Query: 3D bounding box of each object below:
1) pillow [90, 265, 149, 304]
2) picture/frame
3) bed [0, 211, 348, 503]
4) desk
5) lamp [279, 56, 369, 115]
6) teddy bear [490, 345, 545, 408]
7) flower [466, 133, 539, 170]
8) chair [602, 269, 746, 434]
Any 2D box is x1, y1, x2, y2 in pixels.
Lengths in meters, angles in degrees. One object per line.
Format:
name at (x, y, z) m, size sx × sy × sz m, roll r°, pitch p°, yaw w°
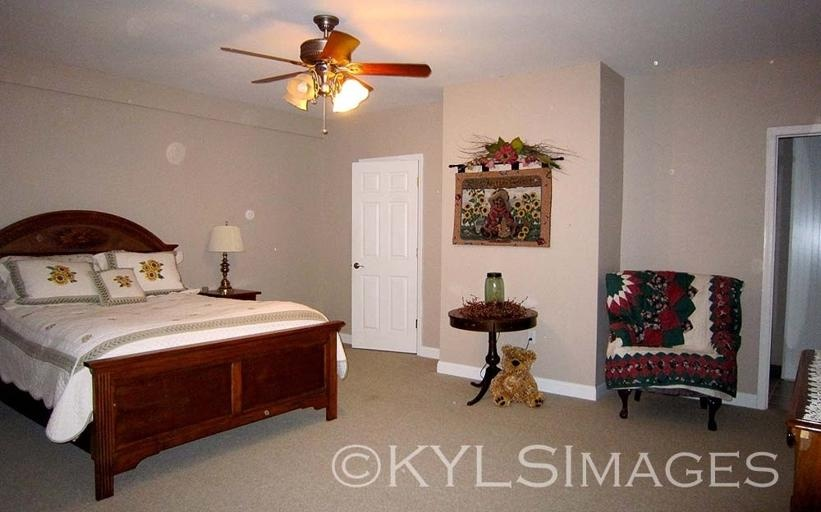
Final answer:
pillow at (-3.149, 0.330, 5.982) m, size 0.505 × 0.508 × 0.156 m, roll 0°, pitch -38°, yaw -47°
picture/frame at (1.100, -0.552, 6.391) m, size 0.988 × 0.701 × 0.016 m, roll 1°, pitch 1°, yaw 27°
bed at (-2.632, 0.549, 5.800) m, size 3.415 × 2.026 × 2.397 m, roll 3°, pitch 4°, yaw 44°
desk at (0.942, 1.041, 6.093) m, size 1.074 × 1.007 × 1.012 m, roll 0°, pitch -1°, yaw -7°
lamp at (-0.750, -1.600, 4.858) m, size 0.719 × 0.284 × 0.681 m, roll -9°, pitch -1°, yaw 28°
teddy bear at (1.160, 1.308, 5.939) m, size 0.635 × 0.580 × 0.542 m, roll 8°, pitch 11°, yaw 26°
flower at (1.081, -1.206, 6.408) m, size 0.861 × 0.338 × 0.102 m, roll 7°, pitch 17°, yaw 26°
chair at (2.527, 0.958, 6.213) m, size 1.786 × 1.853 × 1.472 m, roll 0°, pitch -5°, yaw 22°
